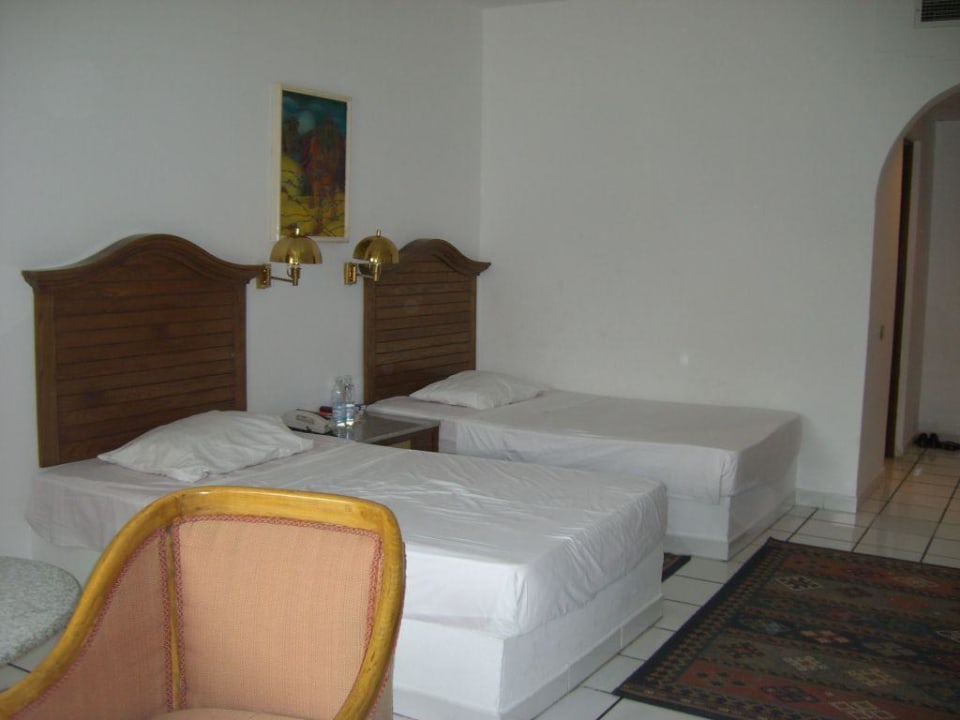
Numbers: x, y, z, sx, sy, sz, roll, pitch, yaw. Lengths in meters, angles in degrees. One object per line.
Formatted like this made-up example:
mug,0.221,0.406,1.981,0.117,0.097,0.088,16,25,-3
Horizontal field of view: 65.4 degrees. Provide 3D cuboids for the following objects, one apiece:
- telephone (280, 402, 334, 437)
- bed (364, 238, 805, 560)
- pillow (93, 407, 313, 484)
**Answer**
telephone,-0.888,0.309,3.900,0.210,0.070,0.149,7,8,27
bed,0.579,-0.012,4.682,2.563,1.716,1.580,6,14,29
pillow,-1.236,0.349,3.223,0.484,0.174,0.717,11,10,8
